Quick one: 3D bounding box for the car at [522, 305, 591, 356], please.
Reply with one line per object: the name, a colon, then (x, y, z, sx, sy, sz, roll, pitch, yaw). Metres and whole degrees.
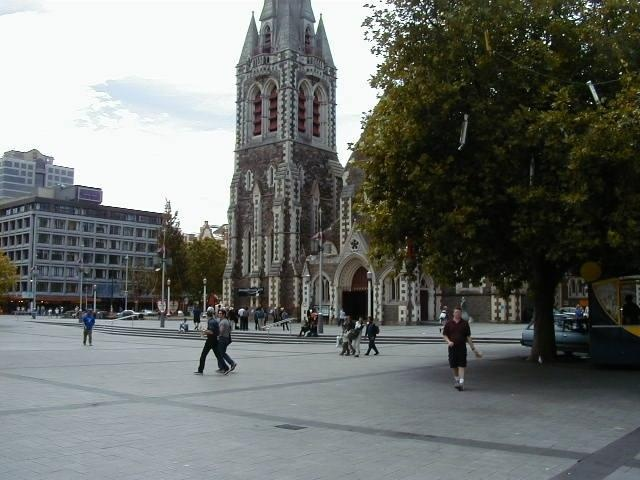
car: (8.735, 3.405, 24.809, 2.605, 1.112, 1.537, -15, -15, 41)
